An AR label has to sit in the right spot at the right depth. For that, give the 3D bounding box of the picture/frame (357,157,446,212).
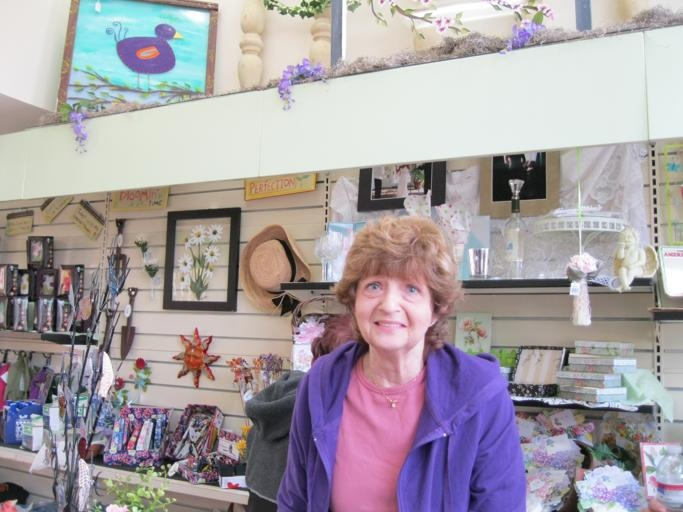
[{"bbox_3d":[0.354,-0.388,3.186,0.254,0.293,0.014,0,-14,17],"label":"picture/frame"}]

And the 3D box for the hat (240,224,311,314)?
[{"bbox_3d":[-0.434,0.048,3.596,0.433,0.516,0.139,-35,-20,10],"label":"hat"}]
